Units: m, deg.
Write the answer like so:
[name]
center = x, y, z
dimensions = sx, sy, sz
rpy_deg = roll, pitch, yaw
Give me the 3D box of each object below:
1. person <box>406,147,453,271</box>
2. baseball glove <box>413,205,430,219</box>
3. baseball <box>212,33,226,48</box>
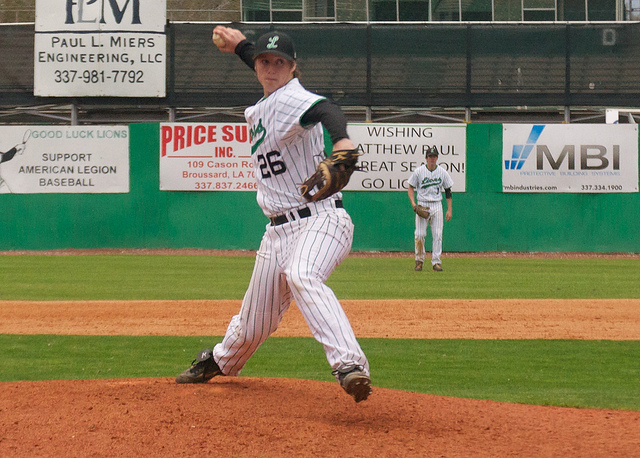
[person]
center = 2.334, -0.417, 28.473
dimensions = 0.909, 2.591, 0.715
rpy_deg = 2, 3, 8
[baseball glove]
center = 2.133, -0.387, 28.219
dimensions = 0.234, 0.119, 0.298
rpy_deg = 28, -9, -20
[baseball]
center = -1.711, -3.158, 22.573
dimensions = 0.085, 0.213, 0.217
rpy_deg = -38, 36, -4
